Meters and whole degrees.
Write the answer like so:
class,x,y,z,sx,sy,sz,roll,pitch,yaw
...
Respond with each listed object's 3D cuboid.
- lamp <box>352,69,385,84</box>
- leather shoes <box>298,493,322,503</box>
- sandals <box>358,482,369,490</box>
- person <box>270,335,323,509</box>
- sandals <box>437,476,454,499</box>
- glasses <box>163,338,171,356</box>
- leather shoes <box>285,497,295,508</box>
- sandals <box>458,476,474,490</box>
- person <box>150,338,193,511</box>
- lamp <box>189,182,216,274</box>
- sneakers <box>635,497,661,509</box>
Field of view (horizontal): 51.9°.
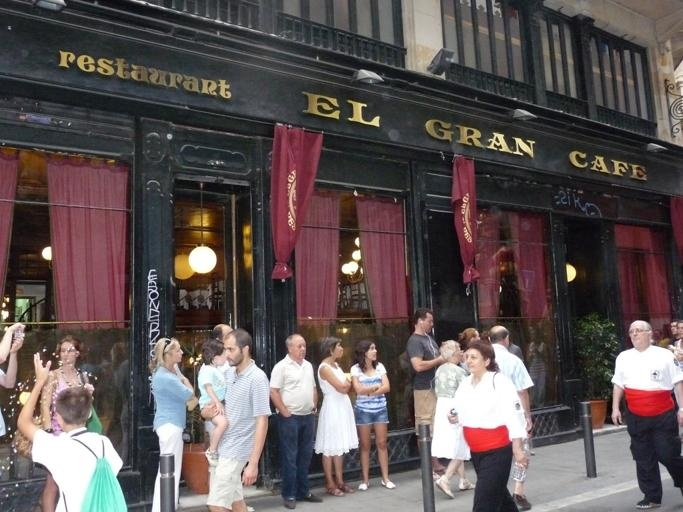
class,x,y,z,sx,sy,sz,roll,pitch,yaw
lamp,0.422,-2.992,11.803,0.353,0.139,0.258,7,7,38
leather shoes,-0.453,3.505,10.178,0.330,0.139,0.123,0,-4,6
sandals,0.332,3.478,10.665,0.165,0.114,0.239,-3,-9,4
person,-0.651,2.366,10.175,0.542,2.415,0.790,-5,-9,16
sandals,1.532,3.376,10.247,0.416,0.170,0.146,38,-20,-30
glasses,-2.246,1.159,8.956,0.037,0.148,0.105,18,7,-2
leather shoes,-0.732,3.496,9.930,0.159,0.116,0.131,-1,-9,-9
sandals,1.902,3.438,10.625,0.107,0.186,0.310,-1,0,34
person,-2.149,2.113,8.965,0.555,2.151,1.084,0,-9,-13
lamp,-2.321,-0.392,11.677,0.480,1.309,1.016,0,-9,-12
sneakers,4.153,3.324,9.478,0.298,0.146,0.143,4,-7,-1
